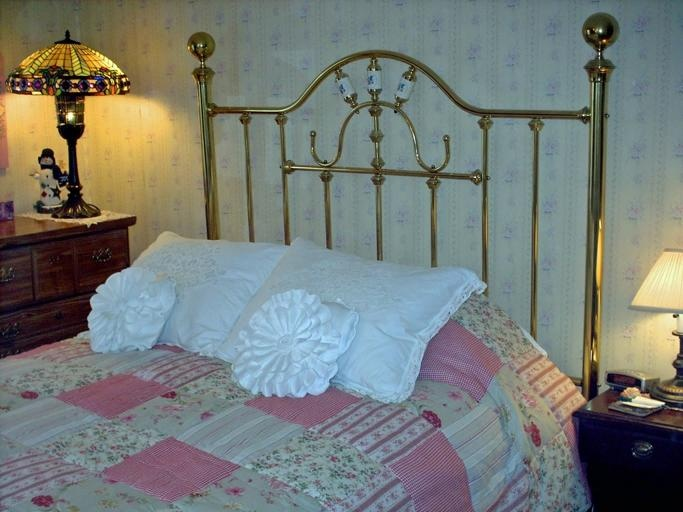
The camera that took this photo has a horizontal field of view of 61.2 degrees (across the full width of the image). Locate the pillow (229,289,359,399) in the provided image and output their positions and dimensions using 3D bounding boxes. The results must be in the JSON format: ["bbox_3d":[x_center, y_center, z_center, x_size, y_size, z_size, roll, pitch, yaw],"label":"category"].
[{"bbox_3d":[-0.153,0.280,1.731,0.333,0.328,0.094,11,-19,24],"label":"pillow"}]

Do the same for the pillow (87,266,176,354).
[{"bbox_3d":[-0.744,0.191,2.036,0.298,0.270,0.155,0,11,-10],"label":"pillow"}]

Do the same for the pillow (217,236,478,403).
[{"bbox_3d":[0.113,0.166,1.751,0.546,0.140,0.548,14,39,30],"label":"pillow"}]
